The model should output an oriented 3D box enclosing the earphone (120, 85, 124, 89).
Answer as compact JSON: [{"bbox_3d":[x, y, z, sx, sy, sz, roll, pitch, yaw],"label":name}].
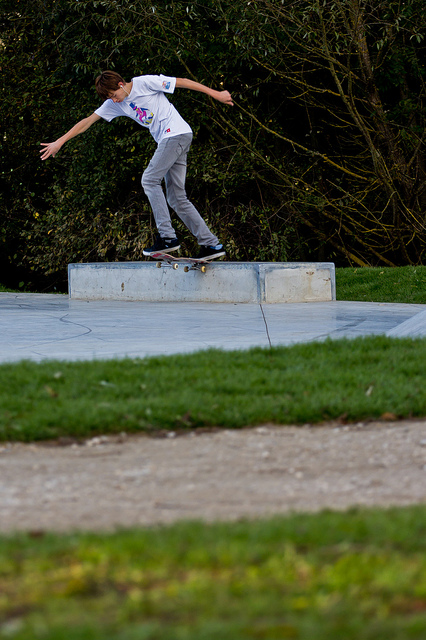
[{"bbox_3d":[-0.722,-1.840,8.274,0.024,0.022,0.006,1,19,6],"label":"earphone"}]

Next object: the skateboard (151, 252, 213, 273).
[{"bbox_3d":[-0.293,-0.504,9.165,0.189,0.109,0.652,0,-10,34],"label":"skateboard"}]

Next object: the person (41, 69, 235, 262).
[{"bbox_3d":[-0.590,-1.289,8.509,1.668,1.597,0.508,-5,-4,3],"label":"person"}]
